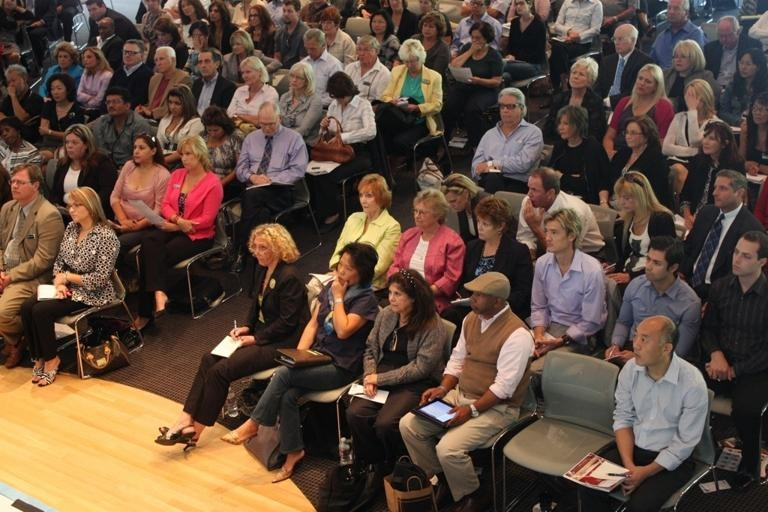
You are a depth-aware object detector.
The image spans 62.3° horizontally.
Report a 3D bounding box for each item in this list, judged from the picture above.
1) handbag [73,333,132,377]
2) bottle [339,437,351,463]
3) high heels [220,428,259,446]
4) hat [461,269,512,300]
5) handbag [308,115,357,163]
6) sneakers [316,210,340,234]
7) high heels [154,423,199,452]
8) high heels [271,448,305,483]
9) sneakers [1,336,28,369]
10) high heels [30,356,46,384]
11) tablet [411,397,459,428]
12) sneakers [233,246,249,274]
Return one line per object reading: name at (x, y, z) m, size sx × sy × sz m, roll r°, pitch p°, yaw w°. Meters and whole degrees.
handbag at (-2.945, 1.042, 6.621) m, size 0.389 × 0.262 × 0.189 m, roll -18°, pitch 24°, yaw -14°
bottle at (-0.321, 1.646, 5.340) m, size 0.098 × 0.227 × 0.146 m, roll 1°, pitch 15°, yaw 0°
high heels at (-1.279, 1.607, 5.585) m, size 0.291 × 0.076 × 0.136 m, roll -7°, pitch 23°, yaw -19°
hat at (0.836, 0.245, 5.107) m, size 0.301 × 0.136 × 0.210 m, roll 19°, pitch 5°, yaw -3°
handbag at (-0.655, -1.530, 8.274) m, size 0.713 × 0.630 × 0.262 m, roll 1°, pitch 2°, yaw 26°
sneakers at (-0.743, -0.467, 8.396) m, size 0.152 × 0.176 × 0.423 m, roll -1°, pitch 10°, yaw 8°
high heels at (-1.833, 1.609, 5.628) m, size 0.359 × 0.140 × 0.199 m, roll 9°, pitch -1°, yaw -14°
high heels at (-0.822, 1.814, 5.507) m, size 0.140 × 0.104 × 0.382 m, roll 2°, pitch 48°, yaw 50°
sneakers at (-3.991, 0.971, 6.873) m, size 0.166 × 0.194 × 0.467 m, roll 9°, pitch 42°, yaw -13°
high heels at (-3.580, 1.184, 6.556) m, size 0.103 × 0.116 × 0.300 m, roll 0°, pitch 15°, yaw -27°
tablet at (0.422, 1.242, 5.048) m, size 0.292 × 0.099 × 0.298 m, roll 10°, pitch 17°, yaw 30°
sneakers at (-1.755, 0.059, 7.784) m, size 0.137 × 0.300 × 0.310 m, roll 13°, pitch 45°, yaw 6°
